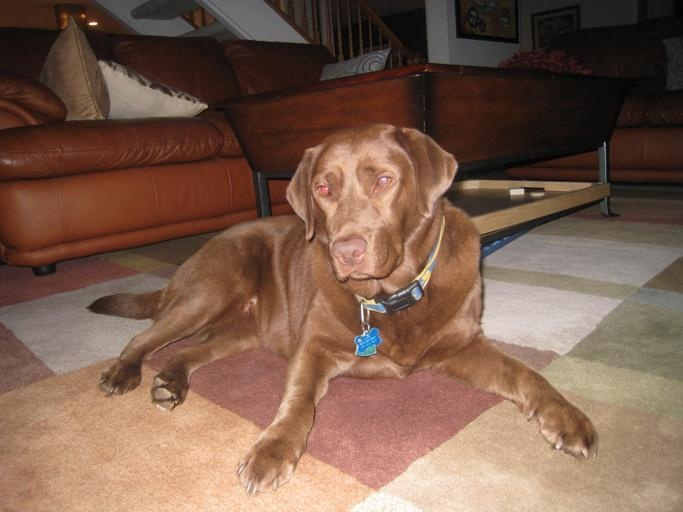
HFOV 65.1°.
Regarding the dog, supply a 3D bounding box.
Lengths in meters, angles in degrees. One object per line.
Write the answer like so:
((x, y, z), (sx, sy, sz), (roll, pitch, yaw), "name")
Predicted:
((-0.197, 0.069, 2.025), (2.130, 1.023, 1.182), (13, 23, 34), "dog")
